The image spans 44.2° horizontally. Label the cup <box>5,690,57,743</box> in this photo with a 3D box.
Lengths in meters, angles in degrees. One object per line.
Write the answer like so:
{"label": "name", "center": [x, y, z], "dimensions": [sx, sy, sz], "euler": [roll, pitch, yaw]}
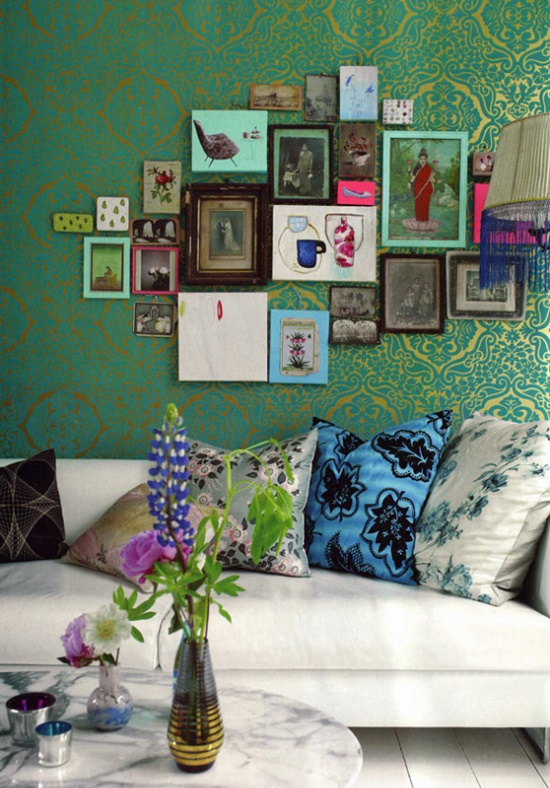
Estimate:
{"label": "cup", "center": [-0.373, 0.491, 1.052], "dimensions": [0.067, 0.062, 0.075], "euler": [1, -8, -4]}

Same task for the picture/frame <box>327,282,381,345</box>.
{"label": "picture/frame", "center": [0.292, -0.300, 2.575], "dimensions": [0.236, 0.262, 0.027], "euler": [0, -4, -2]}

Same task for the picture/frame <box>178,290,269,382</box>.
{"label": "picture/frame", "center": [-0.191, -0.208, 2.554], "dimensions": [0.348, 0.323, 0.081], "euler": [1, 1, 1]}

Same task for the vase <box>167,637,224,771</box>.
{"label": "vase", "center": [-0.118, 0.456, 1.000], "dimensions": [0.072, 0.189, 0.044], "euler": [1, 0, 0]}

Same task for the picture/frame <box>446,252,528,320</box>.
{"label": "picture/frame", "center": [0.763, -0.400, 2.474], "dimensions": [0.255, 0.218, 0.021], "euler": [0, 0, -3]}

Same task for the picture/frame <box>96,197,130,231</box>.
{"label": "picture/frame", "center": [-0.619, -0.682, 2.568], "dimensions": [0.127, 0.139, 0.015], "euler": [0, 2, -1]}

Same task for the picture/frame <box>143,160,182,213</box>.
{"label": "picture/frame", "center": [-0.430, -0.782, 2.559], "dimensions": [0.192, 0.260, 0.030], "euler": [0, -3, -4]}

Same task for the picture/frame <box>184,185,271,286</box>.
{"label": "picture/frame", "center": [-0.187, -0.605, 2.564], "dimensions": [0.378, 0.430, 0.047], "euler": [0, -1, -2]}

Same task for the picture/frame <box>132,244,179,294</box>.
{"label": "picture/frame", "center": [-0.465, -0.476, 2.573], "dimensions": [0.189, 0.197, 0.007], "euler": [0, 2, -1]}

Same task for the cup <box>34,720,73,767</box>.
{"label": "cup", "center": [-0.323, 0.510, 0.989], "dimensions": [0.055, 0.059, 0.053], "euler": [0, 1, 0]}

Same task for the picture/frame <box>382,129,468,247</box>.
{"label": "picture/frame", "center": [0.564, -0.794, 2.568], "dimensions": [0.442, 0.580, 0.039], "euler": [0, -2, -4]}

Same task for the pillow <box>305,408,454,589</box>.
{"label": "pillow", "center": [0.313, 0.335, 2.053], "dimensions": [0.468, 0.267, 0.442], "euler": [0, 36, 37]}

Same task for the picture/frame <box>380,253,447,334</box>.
{"label": "picture/frame", "center": [0.515, -0.388, 2.574], "dimensions": [0.307, 0.370, 0.026], "euler": [0, -1, -3]}

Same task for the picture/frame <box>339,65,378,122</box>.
{"label": "picture/frame", "center": [0.309, -1.129, 2.538], "dimensions": [0.201, 0.265, 0.030], "euler": [0, 0, -3]}
